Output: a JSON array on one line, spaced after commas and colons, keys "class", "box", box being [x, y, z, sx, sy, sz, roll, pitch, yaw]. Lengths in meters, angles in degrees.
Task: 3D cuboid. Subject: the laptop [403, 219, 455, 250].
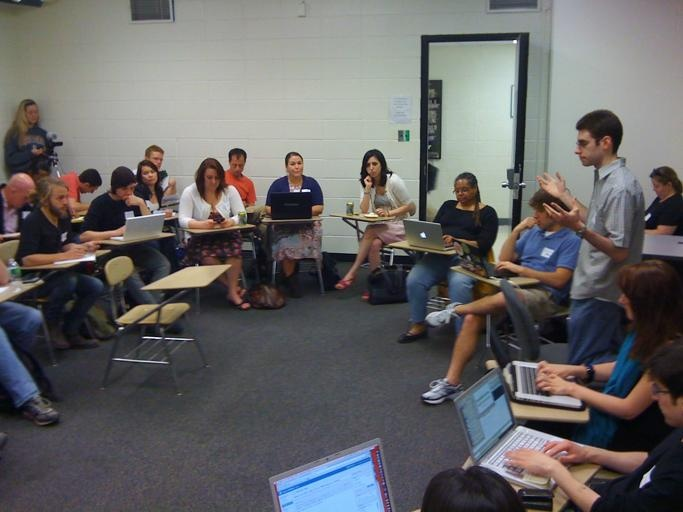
[{"class": "laptop", "box": [0.798, -0.278, 4.563, 0.278, 0.238, 0.388, -10, 15, -37]}]

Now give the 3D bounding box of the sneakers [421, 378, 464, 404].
[{"class": "sneakers", "box": [0.705, 0.959, 3.670, 0.338, 0.157, 0.135, -4, 8, -14]}]

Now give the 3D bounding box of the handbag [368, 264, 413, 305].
[{"class": "handbag", "box": [0.599, 0.305, 5.645, 0.523, 0.418, 0.275, -6, 1, 35]}]

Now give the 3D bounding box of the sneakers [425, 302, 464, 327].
[{"class": "sneakers", "box": [0.797, 0.463, 4.008, 0.362, 0.126, 0.146, -24, -12, 39]}]

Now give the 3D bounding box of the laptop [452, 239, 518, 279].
[{"class": "laptop", "box": [1.105, 0.045, 3.943, 0.310, 0.233, 0.380, -6, 9, -22]}]

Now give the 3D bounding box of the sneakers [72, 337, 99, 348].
[{"class": "sneakers", "box": [-2.289, 0.756, 4.583, 0.221, 0.093, 0.094, -1, 7, -4]}]

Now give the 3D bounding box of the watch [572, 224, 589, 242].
[{"class": "watch", "box": [1.454, -0.148, 3.093, 0.065, 0.101, 0.094, -36, 16, 17]}]

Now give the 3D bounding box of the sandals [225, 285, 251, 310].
[{"class": "sandals", "box": [-1.100, 0.453, 5.546, 0.135, 0.152, 0.390, -12, 16, -43]}]

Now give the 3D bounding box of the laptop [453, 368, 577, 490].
[{"class": "laptop", "box": [0.709, 0.670, 2.037, 0.398, 0.282, 0.447, -4, 7, 22]}]

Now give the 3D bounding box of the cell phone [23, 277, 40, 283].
[{"class": "cell phone", "box": [-2.354, 0.173, 3.867, 0.070, 0.019, 0.067, 1, 7, 3]}]

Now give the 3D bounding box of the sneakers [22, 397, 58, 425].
[{"class": "sneakers", "box": [-2.018, 1.020, 3.482, 0.312, 0.144, 0.132, 8, 10, 17]}]

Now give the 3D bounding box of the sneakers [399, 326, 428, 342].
[{"class": "sneakers", "box": [0.643, 0.696, 4.644, 0.264, 0.114, 0.110, -3, 6, -22]}]

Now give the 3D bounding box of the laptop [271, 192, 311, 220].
[{"class": "laptop", "box": [-0.556, -0.551, 5.611, 0.424, 0.299, 0.298, 0, 11, -3]}]

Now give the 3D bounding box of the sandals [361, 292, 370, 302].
[{"class": "sandals", "box": [0.265, 0.447, 5.685, 0.105, 0.130, 0.292, 0, -2, 3]}]

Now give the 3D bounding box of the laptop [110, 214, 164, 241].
[{"class": "laptop", "box": [-1.921, -0.288, 4.937, 0.264, 0.232, 0.386, 23, 20, 32]}]
